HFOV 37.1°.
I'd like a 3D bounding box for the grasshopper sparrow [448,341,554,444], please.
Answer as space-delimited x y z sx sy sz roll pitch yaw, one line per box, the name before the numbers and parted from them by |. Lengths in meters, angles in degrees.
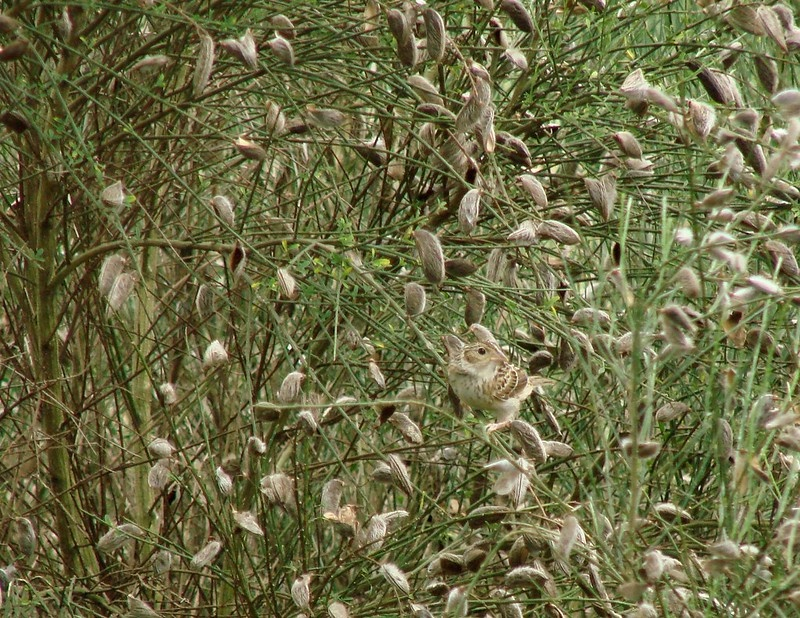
grasshopper sparrow | 0.264 0.191 3.369 0.154 0.273 0.457 12 13 33
